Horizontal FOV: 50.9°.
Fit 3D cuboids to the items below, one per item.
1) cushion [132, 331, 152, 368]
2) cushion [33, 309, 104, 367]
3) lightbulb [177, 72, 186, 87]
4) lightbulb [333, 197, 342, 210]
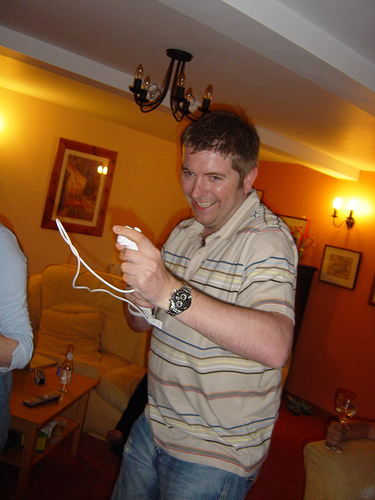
[{"bbox_3d":[-0.380,0.855,3.427,0.119,0.254,0.323,13,5,3],"label":"cushion"},{"bbox_3d":[-0.963,0.689,3.225,0.625,0.399,0.425,1,12,-19],"label":"cushion"},{"bbox_3d":[-0.033,-0.906,2.096,0.040,0.068,0.071,12,5,-10],"label":"lightbulb"},{"bbox_3d":[1.671,-0.518,4.373,0.092,0.139,0.131,14,5,19],"label":"lightbulb"}]
